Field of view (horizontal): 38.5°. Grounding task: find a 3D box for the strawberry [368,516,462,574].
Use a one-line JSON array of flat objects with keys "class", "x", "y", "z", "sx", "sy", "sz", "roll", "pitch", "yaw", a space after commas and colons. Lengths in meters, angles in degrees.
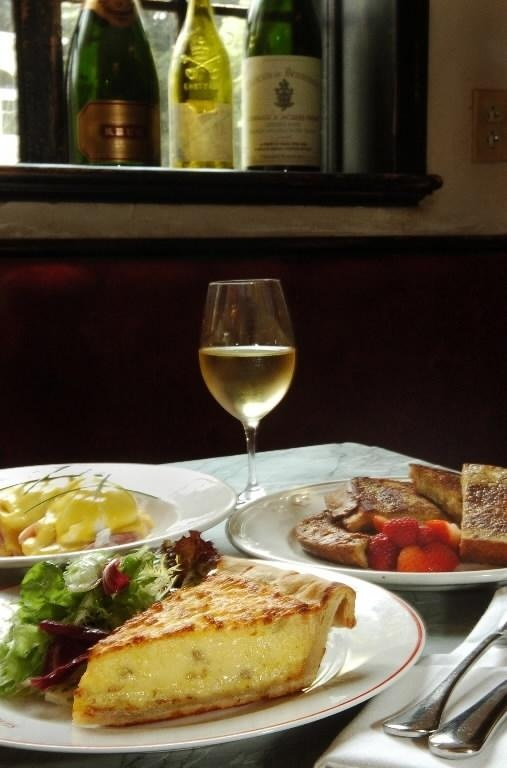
[{"class": "strawberry", "x": 0.109, "y": 0.111, "z": 0.496, "sx": 0.043, "sy": 0.016, "sz": 0.042, "roll": -10, "pitch": 10, "yaw": -37}]
